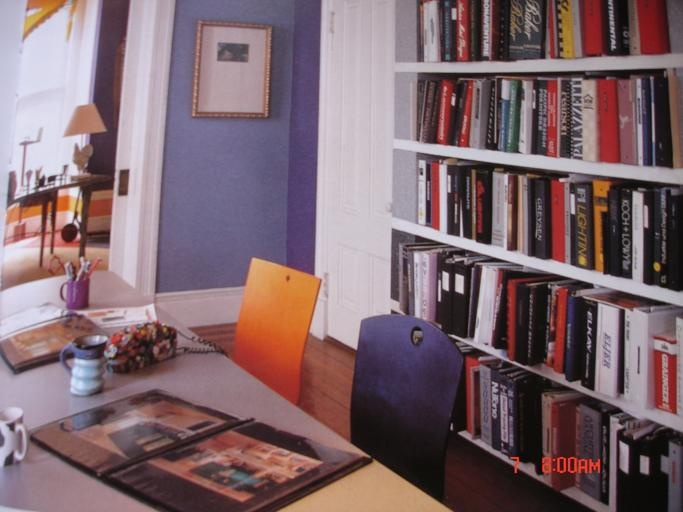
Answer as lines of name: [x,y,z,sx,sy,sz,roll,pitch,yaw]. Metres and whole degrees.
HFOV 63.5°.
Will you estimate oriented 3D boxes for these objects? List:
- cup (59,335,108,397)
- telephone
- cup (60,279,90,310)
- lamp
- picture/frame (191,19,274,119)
cup: [-0.807,0.337,1.719,0.129,0.167,0.101,-1,18,-27]
telephone: [-0.700,0.294,1.927,0.133,0.142,0.245,18,26,32]
cup: [-1.126,0.159,2.376,0.148,0.157,0.097,1,4,-20]
lamp: [-1.769,-0.822,3.834,0.303,0.486,0.158,-4,12,-36]
picture/frame: [-0.871,-1.484,4.286,0.739,0.930,0.067,0,9,-31]
